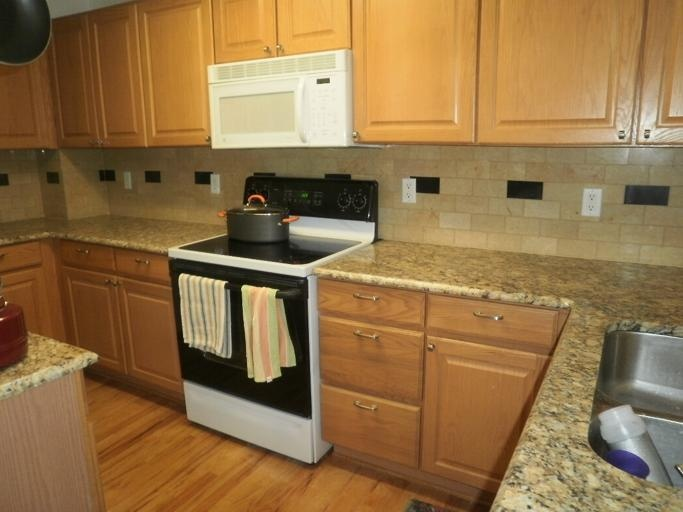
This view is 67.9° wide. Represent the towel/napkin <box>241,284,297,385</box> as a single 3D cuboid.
[{"bbox_3d":[-0.356,0.392,2.365,0.248,0.493,0.145,11,19,37],"label":"towel/napkin"}]

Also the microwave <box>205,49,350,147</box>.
[{"bbox_3d":[-0.285,-0.774,2.581,0.960,0.442,0.479,7,16,28],"label":"microwave"}]

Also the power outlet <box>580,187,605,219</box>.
[{"bbox_3d":[1.154,-0.246,2.343,0.081,0.137,0.014,5,17,21],"label":"power outlet"}]

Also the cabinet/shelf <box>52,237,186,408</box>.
[{"bbox_3d":[-1.199,0.358,2.823,1.017,0.751,0.376,8,12,28],"label":"cabinet/shelf"}]

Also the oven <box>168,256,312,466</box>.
[{"bbox_3d":[-0.527,0.509,2.720,0.760,0.731,0.542,-1,-21,-11],"label":"oven"}]

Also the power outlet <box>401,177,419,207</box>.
[{"bbox_3d":[0.360,-0.350,2.706,0.085,0.140,0.020,8,18,32],"label":"power outlet"}]
